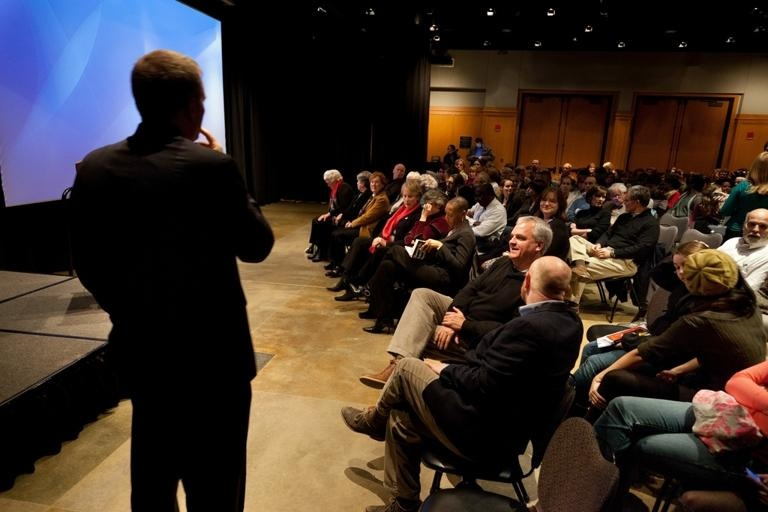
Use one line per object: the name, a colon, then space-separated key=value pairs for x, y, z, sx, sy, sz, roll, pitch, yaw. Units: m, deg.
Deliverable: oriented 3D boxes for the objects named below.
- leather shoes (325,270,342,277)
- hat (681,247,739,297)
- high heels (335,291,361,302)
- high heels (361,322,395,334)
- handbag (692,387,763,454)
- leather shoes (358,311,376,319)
leather shoes: x=-0.776 y=0.272 z=7.324 sx=0.186 sy=0.067 sz=0.102 roll=2 pitch=4 yaw=-7
hat: x=2.158 y=0.137 z=3.348 sx=0.287 sy=0.127 sz=0.402 roll=-18 pitch=15 yaw=48
high heels: x=-0.482 y=0.531 z=6.474 sx=0.368 sy=0.146 sz=0.121 roll=2 pitch=4 yaw=-4
high heels: x=-0.069 y=0.802 z=5.641 sx=0.407 sy=0.187 sz=0.132 roll=4 pitch=5 yaw=-6
handbag: x=1.930 y=0.957 z=2.846 sx=0.281 sy=0.163 sz=0.350 roll=-30 pitch=33 yaw=9
leather shoes: x=-0.216 y=0.693 z=5.896 sx=0.231 sy=0.092 sz=0.081 roll=6 pitch=7 yaw=5
